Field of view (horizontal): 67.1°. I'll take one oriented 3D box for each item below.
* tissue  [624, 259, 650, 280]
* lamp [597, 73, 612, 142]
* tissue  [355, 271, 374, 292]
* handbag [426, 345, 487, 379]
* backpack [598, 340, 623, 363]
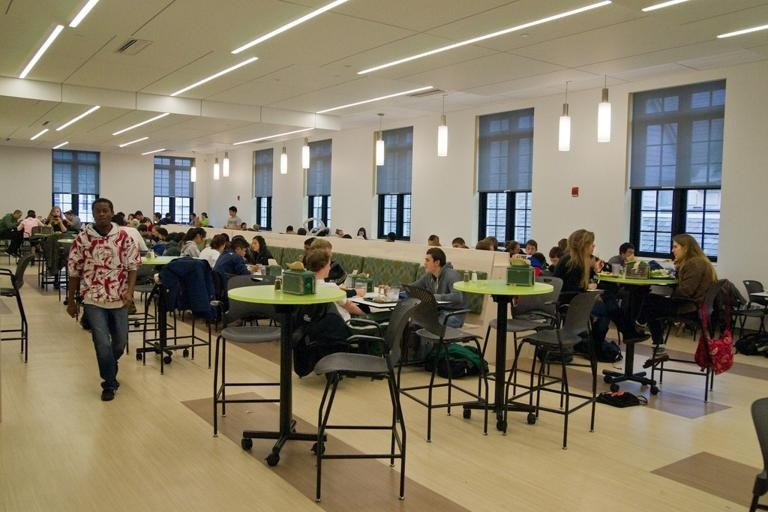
[{"bbox_3d":[2.969,0.167,6.796,0.272,0.233,0.271,1,1,41],"label":"tissue "},{"bbox_3d":[3.144,-1.999,8.228,0.173,0.707,0.313,5,13,17],"label":"lamp"},{"bbox_3d":[-0.231,0.318,6.911,0.174,0.290,0.318,-1,0,-23],"label":"tissue "},{"bbox_3d":[0.846,1.227,6.814,0.587,0.202,0.568,1,1,-31],"label":"handbag"},{"bbox_3d":[2.953,1.244,7.590,0.269,0.227,0.316,0,-2,2],"label":"backpack"}]
